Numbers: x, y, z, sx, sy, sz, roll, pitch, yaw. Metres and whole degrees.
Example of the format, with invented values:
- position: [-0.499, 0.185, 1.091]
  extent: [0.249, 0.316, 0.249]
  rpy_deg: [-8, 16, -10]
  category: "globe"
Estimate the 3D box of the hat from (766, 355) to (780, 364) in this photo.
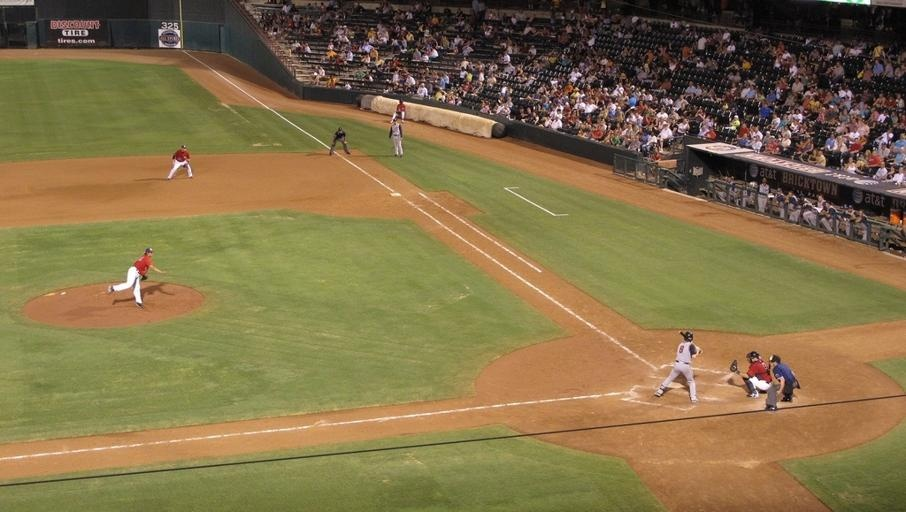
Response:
- position: [12.516, 4.116, 42.744]
  extent: [0.569, 0.331, 0.531]
  rpy_deg: [-6, -1, 18]
  category: "hat"

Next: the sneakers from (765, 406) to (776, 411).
- position: [12.361, 6.019, 42.344]
  extent: [0.331, 0.068, 0.192]
  rpy_deg: [-1, 13, -3]
  category: "sneakers"

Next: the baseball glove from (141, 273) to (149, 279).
- position: [-13.374, 0.926, 47.315]
  extent: [0.348, 0.250, 0.341]
  rpy_deg: [-2, -6, 40]
  category: "baseball glove"

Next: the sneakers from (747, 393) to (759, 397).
- position: [11.777, 5.578, 42.908]
  extent: [0.443, 0.136, 0.124]
  rpy_deg: [-5, 36, 22]
  category: "sneakers"
